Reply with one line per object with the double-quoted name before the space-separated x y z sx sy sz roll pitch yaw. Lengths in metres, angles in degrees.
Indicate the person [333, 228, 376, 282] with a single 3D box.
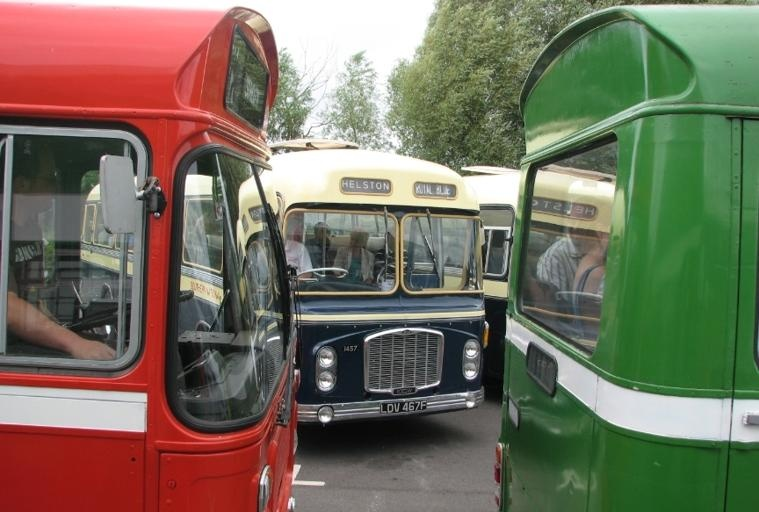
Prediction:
"person" -0.297 0.100 7.303 0.479 0.879 0.291 6 -29 -3
